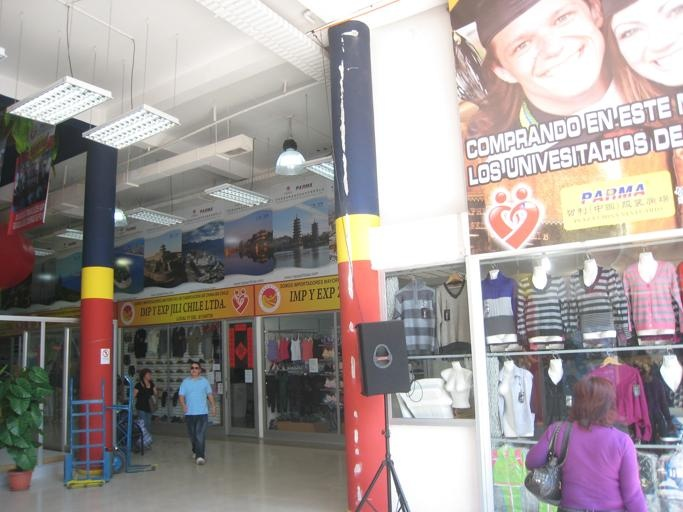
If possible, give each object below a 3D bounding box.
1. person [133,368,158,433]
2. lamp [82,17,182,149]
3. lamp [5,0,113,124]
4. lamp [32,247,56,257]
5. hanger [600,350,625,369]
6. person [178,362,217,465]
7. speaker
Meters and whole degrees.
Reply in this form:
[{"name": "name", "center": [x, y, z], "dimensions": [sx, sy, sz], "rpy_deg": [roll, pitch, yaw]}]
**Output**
[{"name": "person", "center": [-3.691, 2.687, 10.631], "dimensions": [0.356, 1.117, 0.800], "rpy_deg": [1, -7, -20]}, {"name": "lamp", "center": [-2.769, -2.310, 7.573], "dimensions": [1.408, 1.757, 0.570], "rpy_deg": [-14, -19, 38]}, {"name": "lamp", "center": [-3.796, -2.621, 7.535], "dimensions": [1.206, 1.290, 0.657], "rpy_deg": [-14, -14, 41]}, {"name": "lamp", "center": [-7.836, -0.099, 14.963], "dimensions": [0.421, 0.168, 1.873], "rpy_deg": [1, -7, -27]}, {"name": "hanger", "center": [2.681, 1.021, 5.633], "dimensions": [0.219, 0.156, 0.121], "rpy_deg": [-20, 6, 37]}, {"name": "person", "center": [-2.380, 2.557, 9.321], "dimensions": [0.535, 1.603, 0.711], "rpy_deg": [0, -6, -15]}, {"name": "speaker", "center": [0.465, 0.957, 5.771], "dimensions": [0.488, 0.711, 0.359], "rpy_deg": [-3, 10, 18]}]
